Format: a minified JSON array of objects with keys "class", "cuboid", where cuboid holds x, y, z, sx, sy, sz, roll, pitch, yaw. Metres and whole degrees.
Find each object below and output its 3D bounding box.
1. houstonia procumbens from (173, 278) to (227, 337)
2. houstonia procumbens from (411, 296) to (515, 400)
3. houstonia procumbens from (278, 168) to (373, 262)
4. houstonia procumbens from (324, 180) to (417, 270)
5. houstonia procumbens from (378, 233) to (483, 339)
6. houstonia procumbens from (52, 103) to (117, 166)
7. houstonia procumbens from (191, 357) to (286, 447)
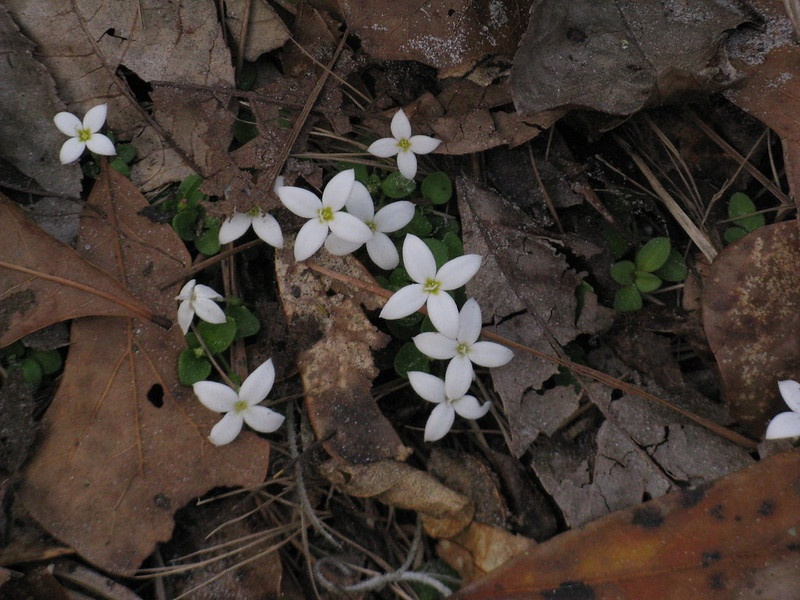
[{"class":"houstonia procumbens","cuboid":[-0.949,0.030,3.623,0.251,0.202,0.153,-14,34,15]},{"class":"houstonia procumbens","cuboid":[0.305,0.231,3.526,0.453,0.093,0.536,12,57,13]},{"class":"houstonia procumbens","cuboid":[-0.350,-0.400,3.528,0.361,0.307,0.230,-20,33,6]},{"class":"houstonia procumbens","cuboid":[-0.143,-0.363,3.649,0.356,0.103,0.439,23,63,3]},{"class":"houstonia procumbens","cuboid":[0.151,-0.052,3.505,0.377,0.428,0.091,8,37,-18]},{"class":"houstonia procumbens","cuboid":[-1.497,-0.820,3.687,0.282,0.219,0.263,-14,35,15]},{"class":"houstonia procumbens","cuboid":[-0.722,0.500,3.549,0.452,0.462,0.164,12,29,-7]}]
